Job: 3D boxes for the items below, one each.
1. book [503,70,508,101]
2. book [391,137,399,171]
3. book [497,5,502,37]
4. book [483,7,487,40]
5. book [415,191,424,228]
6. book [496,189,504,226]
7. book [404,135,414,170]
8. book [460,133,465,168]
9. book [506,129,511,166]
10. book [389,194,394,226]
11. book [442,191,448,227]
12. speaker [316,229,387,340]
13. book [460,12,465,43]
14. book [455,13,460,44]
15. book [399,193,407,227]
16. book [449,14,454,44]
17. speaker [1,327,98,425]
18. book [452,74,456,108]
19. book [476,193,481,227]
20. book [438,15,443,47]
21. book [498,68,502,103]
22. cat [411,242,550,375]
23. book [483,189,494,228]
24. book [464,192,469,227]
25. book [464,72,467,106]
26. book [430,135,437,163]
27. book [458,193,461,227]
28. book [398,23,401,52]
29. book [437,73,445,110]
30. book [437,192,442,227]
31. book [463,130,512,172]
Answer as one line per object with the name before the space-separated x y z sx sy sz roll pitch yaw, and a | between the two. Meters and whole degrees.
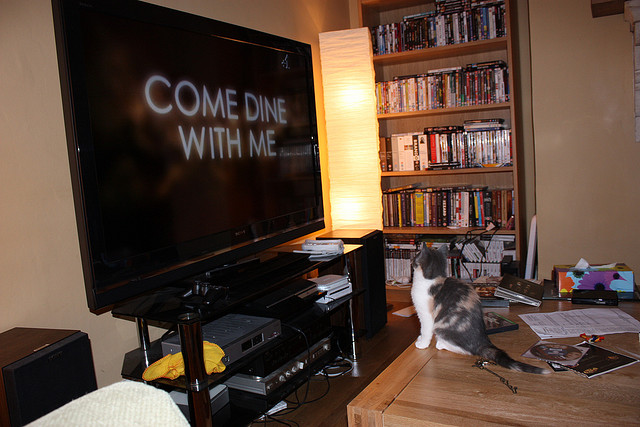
book | 1.534 -1.058 3.795 0.033 0.249 0.022 -1 8 20
book | 0.685 -0.543 4.185 0.066 0.295 0.019 2 10 37
book | 1.460 -1.566 3.726 0.033 0.247 0.021 0 9 27
book | 1.357 -1.564 3.771 0.029 0.245 0.021 -1 8 20
book | 0.894 -0.045 4.127 0.115 0.293 0.309 0 6 8
book | 1.510 -0.044 3.867 0.042 0.292 0.069 -1 8 18
book | 0.804 -0.562 4.134 0.102 0.287 0.307 -3 -2 4
book | 1.230 -0.546 3.960 0.033 0.290 0.013 -1 8 16
book | 1.565 -0.543 3.807 0.019 0.294 0.031 -7 8 -20
book | 0.656 -0.031 4.227 0.029 0.288 0.024 -2 8 10
book | 1.102 -0.035 4.040 0.049 0.310 0.015 -2 8 12
speaker | 0.265 0.519 3.425 0.357 0.779 0.516 0 8 24
book | 1.195 -1.561 3.852 0.032 0.242 0.017 0 9 26
book | 1.157 -1.556 3.865 0.032 0.232 0.010 0 9 26
book | 0.759 -0.030 4.189 0.062 0.297 0.024 3 11 41
book | 1.115 -1.561 3.884 0.034 0.240 0.015 2 10 34
speaker | -1.238 0.642 1.966 0.372 0.333 0.340 -3 4 23
book | 1.149 -1.053 3.932 0.026 0.269 0.023 3 10 40
book | 1.368 -0.032 3.950 0.019 0.285 0.039 -9 9 -31
book | 1.028 -1.561 3.918 0.023 0.259 0.033 -9 10 -35
book | 1.492 -1.060 3.800 0.028 0.271 0.021 -1 9 22
cat | 0.689 0.438 2.023 0.208 0.439 0.728 0 8 -37
book | 1.430 -0.041 3.913 0.072 0.303 0.050 0 9 26
book | 1.272 -0.032 3.977 0.041 0.298 0.031 -1 8 17
book | 1.238 -1.055 3.897 0.023 0.267 0.025 -1 8 19
book | 0.999 -0.567 4.037 0.043 0.179 0.186 -2 2 7
book | 1.223 -0.030 3.999 0.024 0.294 0.032 -3 8 5
book | 0.706 -1.559 4.071 0.031 0.237 0.014 -2 8 11
book | 1.046 -1.064 3.971 0.061 0.295 0.022 -2 8 12
book | 1.063 -0.032 4.058 0.040 0.306 0.018 -1 8 15
book | 1.412 -0.543 3.876 0.372 0.296 0.074 -1 8 16
